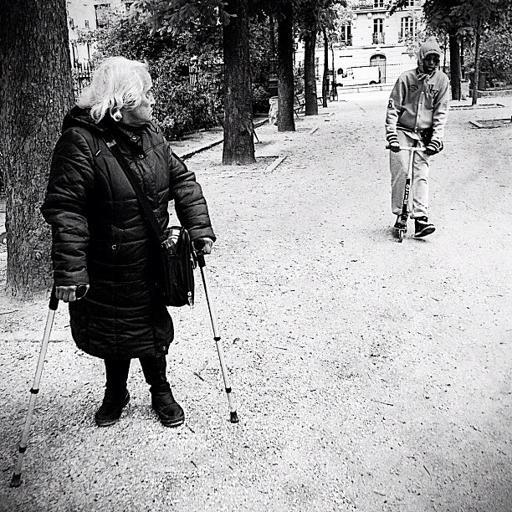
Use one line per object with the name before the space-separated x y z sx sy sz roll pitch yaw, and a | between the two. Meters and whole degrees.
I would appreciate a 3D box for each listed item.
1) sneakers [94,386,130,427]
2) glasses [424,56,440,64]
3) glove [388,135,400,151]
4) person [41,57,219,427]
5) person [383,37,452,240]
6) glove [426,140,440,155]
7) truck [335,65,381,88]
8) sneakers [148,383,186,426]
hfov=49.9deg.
sneakers | -0.822 0.846 3.156 0.094 0.138 0.294 3 14 6
glasses | 2.028 -2.248 6.311 0.095 0.061 0.135 5 -6 4
glove | 1.655 -1.355 6.577 0.139 0.194 0.224 3 17 13
person | -0.669 -0.024 2.938 0.740 1.950 0.530 -11 22 -33
person | 1.931 -1.403 6.596 0.748 2.304 0.816 -1 15 0
glove | 2.090 -1.276 6.463 0.180 0.189 0.413 5 18 18
truck | 12.942 -22.549 68.498 6.793 2.186 2.644 -9 18 -23
sneakers | -0.505 0.831 3.137 0.119 0.222 0.333 -8 12 -26
